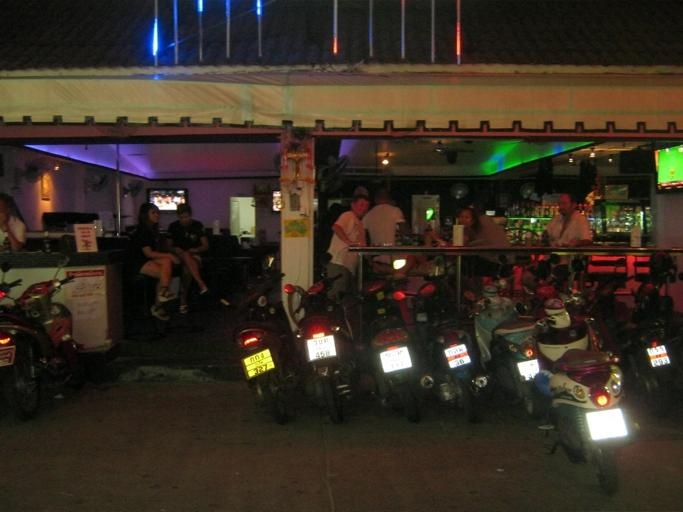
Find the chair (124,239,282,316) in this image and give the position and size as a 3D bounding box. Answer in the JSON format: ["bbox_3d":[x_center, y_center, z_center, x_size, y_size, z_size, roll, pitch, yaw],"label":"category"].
[{"bbox_3d":[-2.383,0.420,13.471,3.248,1.207,1.344,-3,11,-36],"label":"chair"}]

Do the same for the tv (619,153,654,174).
[{"bbox_3d":[4.688,-1.472,11.547,0.619,0.368,0.319,0,4,11],"label":"tv"}]

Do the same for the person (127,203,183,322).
[{"bbox_3d":[-2.741,0.103,10.680,0.707,1.732,0.873,-2,1,-14],"label":"person"}]
